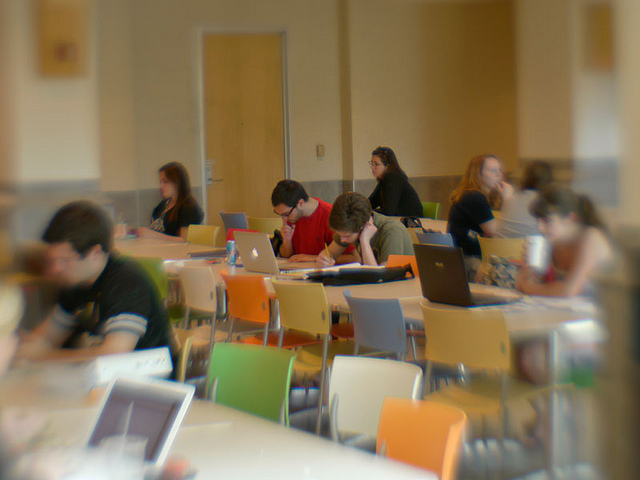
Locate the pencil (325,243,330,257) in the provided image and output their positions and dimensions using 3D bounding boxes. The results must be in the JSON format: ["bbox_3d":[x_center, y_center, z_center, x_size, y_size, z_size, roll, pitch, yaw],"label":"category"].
[{"bbox_3d":[0.033,0.044,2.783,0.008,0.065,0.008,-17,18,5],"label":"pencil"}]

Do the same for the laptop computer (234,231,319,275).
[{"bbox_3d":[-0.237,0.064,2.693,0.359,0.203,0.344,3,-4,-31],"label":"laptop computer"}]

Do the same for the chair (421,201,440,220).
[{"bbox_3d":[0.976,-0.267,4.959,0.149,0.154,0.317,1,7,12],"label":"chair"}]

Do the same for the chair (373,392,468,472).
[{"bbox_3d":[0.193,0.348,1.086,0.123,0.149,0.163,10,6,29],"label":"chair"}]

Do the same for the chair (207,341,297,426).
[{"bbox_3d":[-0.169,0.346,1.390,0.153,0.295,0.196,0,-8,26],"label":"chair"}]

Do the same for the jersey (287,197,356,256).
[{"bbox_3d":[0.031,-0.099,3.158,0.192,0.361,0.399,-1,17,7],"label":"jersey"}]

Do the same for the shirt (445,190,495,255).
[{"bbox_3d":[0.787,-0.124,3.105,0.189,0.387,0.361,-4,15,-19],"label":"shirt"}]

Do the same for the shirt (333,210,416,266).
[{"bbox_3d":[0.271,-0.001,2.668,0.262,0.209,0.216,-24,-2,-17],"label":"shirt"}]

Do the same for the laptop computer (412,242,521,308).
[{"bbox_3d":[0.446,0.090,1.872,0.256,0.210,0.291,1,13,34],"label":"laptop computer"}]

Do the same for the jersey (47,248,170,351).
[{"bbox_3d":[-0.501,0.133,1.418,0.193,0.407,0.204,6,41,-10],"label":"jersey"}]

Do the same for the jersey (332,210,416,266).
[{"bbox_3d":[0.250,-0.013,2.679,0.302,0.246,0.245,-18,1,-16],"label":"jersey"}]

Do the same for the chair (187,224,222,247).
[{"bbox_3d":[-0.831,-0.042,4.015,0.144,0.302,0.193,5,0,18],"label":"chair"}]

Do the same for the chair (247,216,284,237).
[{"bbox_3d":[-0.443,-0.150,4.524,0.190,0.138,0.201,-4,6,-25],"label":"chair"}]

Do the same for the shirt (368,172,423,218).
[{"bbox_3d":[0.549,-0.371,4.174,0.397,0.346,0.383,1,27,5],"label":"shirt"}]

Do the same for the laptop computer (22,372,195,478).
[{"bbox_3d":[-0.245,0.216,0.654,0.158,0.110,0.154,3,-3,42],"label":"laptop computer"}]
